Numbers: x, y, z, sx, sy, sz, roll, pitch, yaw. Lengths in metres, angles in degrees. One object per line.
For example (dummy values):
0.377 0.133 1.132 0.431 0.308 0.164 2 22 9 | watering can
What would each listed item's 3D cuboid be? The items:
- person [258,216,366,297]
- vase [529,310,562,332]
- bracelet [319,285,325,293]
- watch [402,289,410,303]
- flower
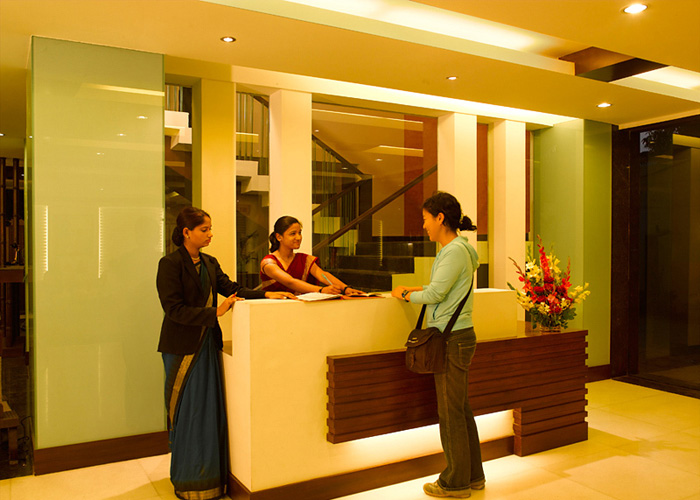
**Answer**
-0.350 0.137 5.193 1.077 0.891 0.542 4 8 40 | person
1.943 0.725 5.717 0.226 0.140 0.227 1 0 -1 | vase
-0.256 0.355 5.061 0.037 0.051 0.018 -6 4 -5 | bracelet
0.467 0.397 4.786 0.047 0.065 0.087 -1 36 -1 | watch
2.074 0.380 5.913 0.667 0.905 0.765 1 7 36 | flower
